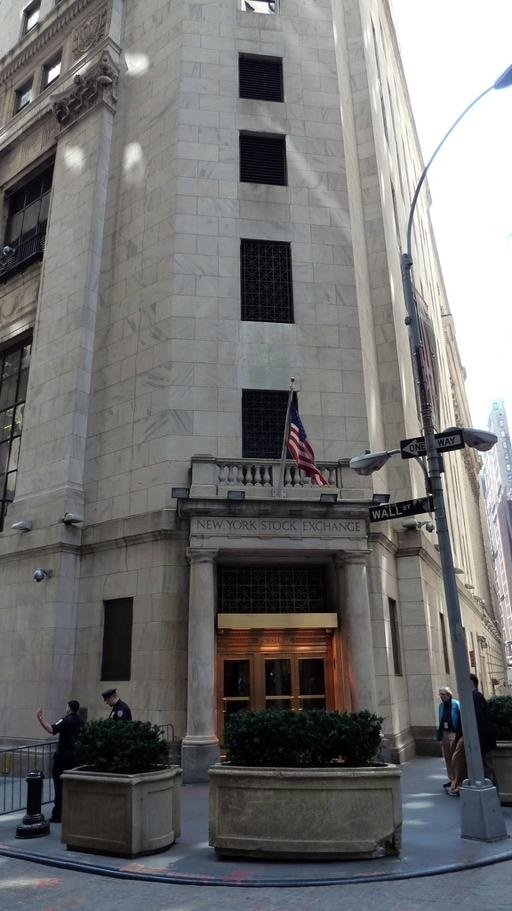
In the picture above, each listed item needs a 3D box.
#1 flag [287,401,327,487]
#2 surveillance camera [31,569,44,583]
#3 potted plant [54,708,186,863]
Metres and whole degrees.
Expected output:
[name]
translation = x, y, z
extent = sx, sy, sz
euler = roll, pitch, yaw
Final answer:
[flag]
translation = 1.170, -0.352, 14.021
extent = 0.739, 2.033, 1.165
euler = -5, -10, 15
[surveillance camera]
translation = -6.030, 3.311, 16.586
extent = 0.360, 0.434, 0.284
euler = 17, -19, -21
[potted plant]
translation = -1.669, 3.992, 7.395
extent = 1.179, 1.530, 1.150
euler = -5, -17, 15
